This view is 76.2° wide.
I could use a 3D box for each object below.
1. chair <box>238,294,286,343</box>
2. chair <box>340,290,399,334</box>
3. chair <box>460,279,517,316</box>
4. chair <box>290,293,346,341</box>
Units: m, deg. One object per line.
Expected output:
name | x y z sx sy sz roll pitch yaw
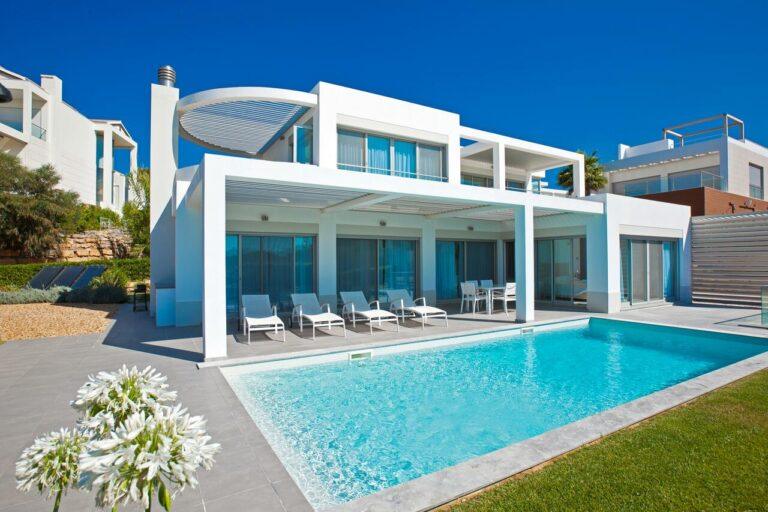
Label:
chair | -3.641 1.841 14.689 1.217 1.412 1.856 1 -6 -17
chair | -0.627 1.750 16.180 1.010 0.991 2.028 1 -3 -29
chair | 3.918 1.550 18.459 1.479 0.709 1.512 -2 -1 29
chair | -2.170 1.820 15.207 1.062 1.115 2.186 -3 5 -27
